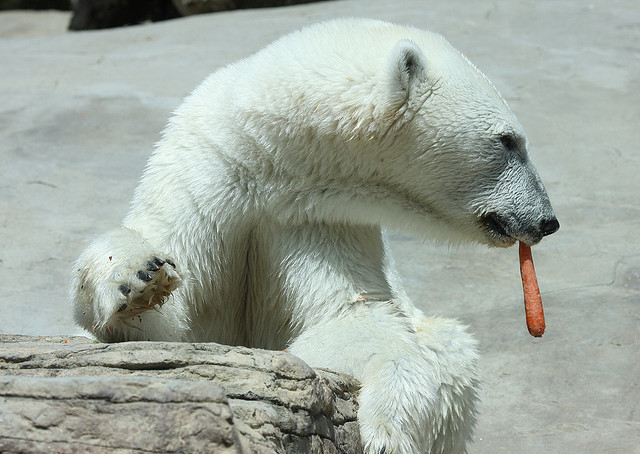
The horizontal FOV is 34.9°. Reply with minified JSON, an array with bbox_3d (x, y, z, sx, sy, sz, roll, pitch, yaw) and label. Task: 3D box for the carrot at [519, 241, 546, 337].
[{"bbox_3d":[1.478,0.460,6.972,0.119,0.128,0.808,3,59,-12],"label":"carrot"}]
